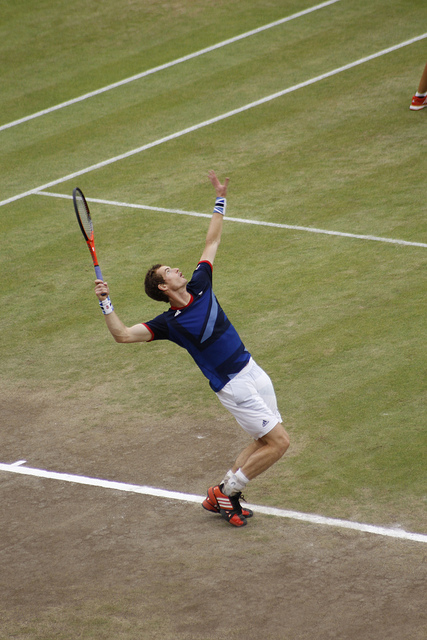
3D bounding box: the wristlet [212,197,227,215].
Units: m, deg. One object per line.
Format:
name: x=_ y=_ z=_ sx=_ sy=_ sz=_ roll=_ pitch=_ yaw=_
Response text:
wristlet: x=0.045 y=-0.911 z=8.368 sx=0.074 sy=0.132 sz=0.173 roll=-10 pitch=26 yaw=9
